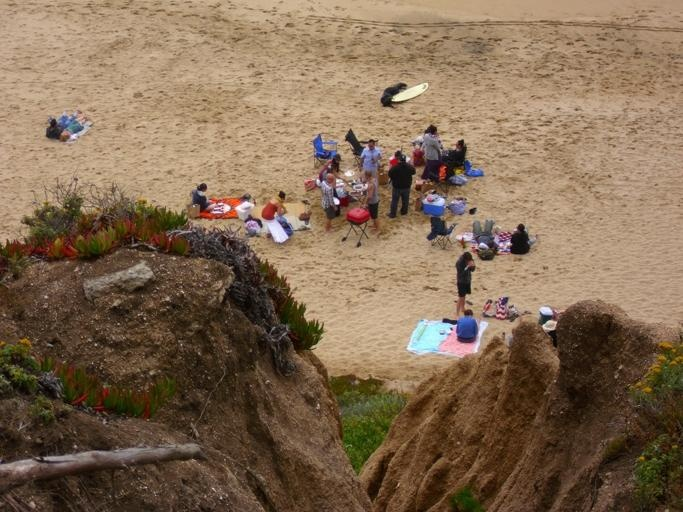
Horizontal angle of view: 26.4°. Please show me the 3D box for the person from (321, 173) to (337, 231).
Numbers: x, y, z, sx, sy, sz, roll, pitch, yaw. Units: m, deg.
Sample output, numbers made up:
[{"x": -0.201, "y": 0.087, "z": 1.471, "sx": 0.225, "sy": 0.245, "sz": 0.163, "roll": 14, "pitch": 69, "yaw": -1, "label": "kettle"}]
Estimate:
[{"x": -0.384, "y": -1.465, "z": 38.204, "sx": 0.415, "sy": 1.470, "sz": 0.700, "roll": 4, "pitch": 12, "yaw": -1, "label": "person"}]

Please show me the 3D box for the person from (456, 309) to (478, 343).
[{"x": 2.967, "y": 1.674, "z": 34.308, "sx": 0.587, "sy": 0.779, "sz": 0.418, "roll": 3, "pitch": 13, "yaw": -6, "label": "person"}]

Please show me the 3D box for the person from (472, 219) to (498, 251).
[{"x": 3.595, "y": -0.540, "z": 37.182, "sx": 0.505, "sy": 0.225, "sz": 0.853, "roll": -6, "pitch": 33, "yaw": 3, "label": "person"}]

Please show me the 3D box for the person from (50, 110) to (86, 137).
[{"x": -7.942, "y": -3.764, "z": 41.924, "sx": 0.809, "sy": 0.726, "sz": 1.054, "roll": 10, "pitch": 13, "yaw": 24, "label": "person"}]

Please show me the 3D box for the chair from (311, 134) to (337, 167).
[{"x": -0.540, "y": -2.898, "z": 40.256, "sx": 0.574, "sy": 0.837, "sz": 0.698, "roll": 10, "pitch": 40, "yaw": 7, "label": "chair"}]

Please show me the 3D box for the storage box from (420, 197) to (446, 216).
[{"x": 2.381, "y": -1.284, "z": 38.343, "sx": 0.495, "sy": 0.328, "sz": 0.488, "roll": 2, "pitch": 18, "yaw": 9, "label": "storage box"}]

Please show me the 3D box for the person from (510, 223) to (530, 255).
[{"x": 4.535, "y": -0.413, "z": 36.702, "sx": 0.571, "sy": 0.820, "sz": 0.481, "roll": 2, "pitch": 13, "yaw": -11, "label": "person"}]

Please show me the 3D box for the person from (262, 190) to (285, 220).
[{"x": -1.827, "y": -1.289, "z": 37.912, "sx": 0.402, "sy": 0.737, "sz": 0.496, "roll": 52, "pitch": 26, "yaw": 19, "label": "person"}]

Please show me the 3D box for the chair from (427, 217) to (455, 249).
[{"x": 2.491, "y": -0.549, "z": 37.269, "sx": 0.557, "sy": 0.661, "sz": 0.485, "roll": 17, "pitch": 39, "yaw": 28, "label": "chair"}]

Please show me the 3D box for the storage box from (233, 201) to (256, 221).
[{"x": -2.606, "y": -1.164, "z": 38.120, "sx": 0.301, "sy": 0.406, "sz": 0.282, "roll": 32, "pitch": 61, "yaw": 21, "label": "storage box"}]

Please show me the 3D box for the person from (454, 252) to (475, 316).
[{"x": 2.913, "y": 0.630, "z": 35.107, "sx": 0.408, "sy": 1.647, "sz": 1.272, "roll": 5, "pitch": 12, "yaw": 5, "label": "person"}]

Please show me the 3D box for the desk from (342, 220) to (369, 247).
[{"x": 0.313, "y": -0.559, "z": 37.843, "sx": 0.663, "sy": 0.507, "sz": 0.966, "roll": 5, "pitch": 12, "yaw": 4, "label": "desk"}]

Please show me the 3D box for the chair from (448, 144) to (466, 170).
[{"x": 3.087, "y": -2.647, "z": 39.313, "sx": 0.397, "sy": 0.667, "sz": 0.282, "roll": 9, "pitch": 59, "yaw": 2, "label": "chair"}]

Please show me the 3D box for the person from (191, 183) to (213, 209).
[{"x": -3.761, "y": -1.595, "z": 38.505, "sx": 0.465, "sy": 0.734, "sz": 1.050, "roll": 6, "pitch": 12, "yaw": 6, "label": "person"}]
